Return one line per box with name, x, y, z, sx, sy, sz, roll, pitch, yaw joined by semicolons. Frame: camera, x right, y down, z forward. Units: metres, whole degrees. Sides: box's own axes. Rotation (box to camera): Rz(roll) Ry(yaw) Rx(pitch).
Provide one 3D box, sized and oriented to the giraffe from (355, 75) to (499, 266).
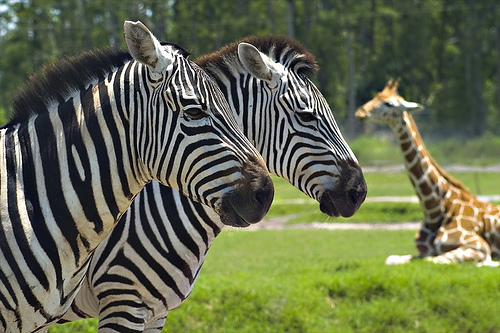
giraffe;6.519;0.417;33.072;4.548;5.691;1.786;6;13;29
